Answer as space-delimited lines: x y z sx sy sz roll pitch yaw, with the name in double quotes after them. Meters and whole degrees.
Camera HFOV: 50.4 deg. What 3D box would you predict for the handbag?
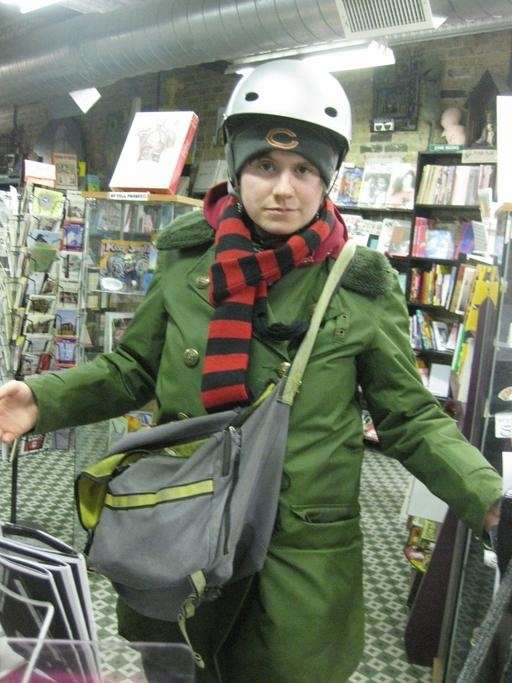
-0.065 0.255 0.994 0.351 0.439 0.185 13 -3 28 "handbag"
